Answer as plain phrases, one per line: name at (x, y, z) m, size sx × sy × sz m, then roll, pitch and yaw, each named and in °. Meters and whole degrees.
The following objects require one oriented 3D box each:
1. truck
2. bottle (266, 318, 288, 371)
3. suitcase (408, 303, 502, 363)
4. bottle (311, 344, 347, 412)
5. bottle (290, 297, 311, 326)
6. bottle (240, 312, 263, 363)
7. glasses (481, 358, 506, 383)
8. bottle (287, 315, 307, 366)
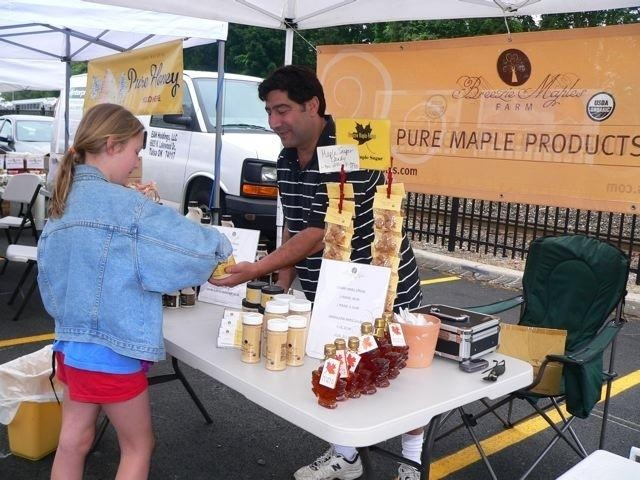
truck at (-2.184, -1.530, 8.588) m, size 6.004 × 2.670 × 2.660 m, roll 14°, pitch 12°, yaw 39°
bottle at (-0.180, 0.443, 2.061) m, size 0.090 × 0.227 × 0.062 m, roll 2°, pitch 11°, yaw -9°
suitcase at (0.650, 0.449, 2.398) m, size 0.388 × 0.193 × 0.348 m, roll 13°, pitch 15°, yaw 43°
bottle at (0.024, 0.506, 1.806) m, size 0.120 × 0.228 × 0.107 m, roll 7°, pitch 12°, yaw 16°
bottle at (-0.098, 0.329, 2.185) m, size 0.101 × 0.101 × 0.097 m, roll 1°, pitch 4°, yaw -5°
bottle at (-0.301, 0.426, 2.155) m, size 0.093 × 0.213 × 0.136 m, roll 1°, pitch 11°, yaw -10°
glasses at (0.755, 0.574, 2.110) m, size 0.079 × 0.024 × 0.081 m, roll -19°, pitch -5°, yaw -44°
bottle at (-0.104, 0.436, 2.107) m, size 0.080 × 0.233 × 0.084 m, roll 3°, pitch 11°, yaw -1°
